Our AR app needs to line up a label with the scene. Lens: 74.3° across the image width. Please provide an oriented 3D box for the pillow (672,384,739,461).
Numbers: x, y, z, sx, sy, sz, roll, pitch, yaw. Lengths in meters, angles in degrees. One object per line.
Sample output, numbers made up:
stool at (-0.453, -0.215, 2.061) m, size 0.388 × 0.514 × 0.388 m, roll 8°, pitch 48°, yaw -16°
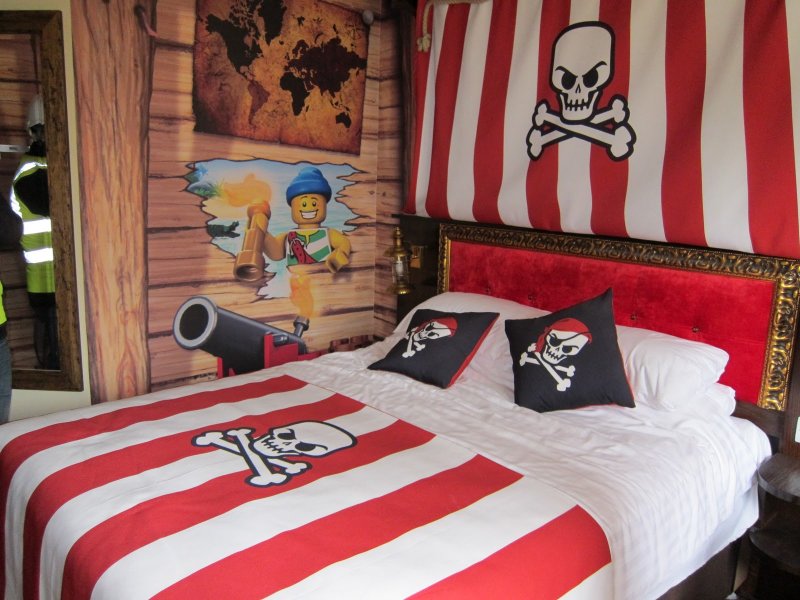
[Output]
pillow at (1.391, 0.552, 2.404) m, size 0.253 × 0.061 × 0.252 m, roll -12°, pitch 29°, yaw -18°
